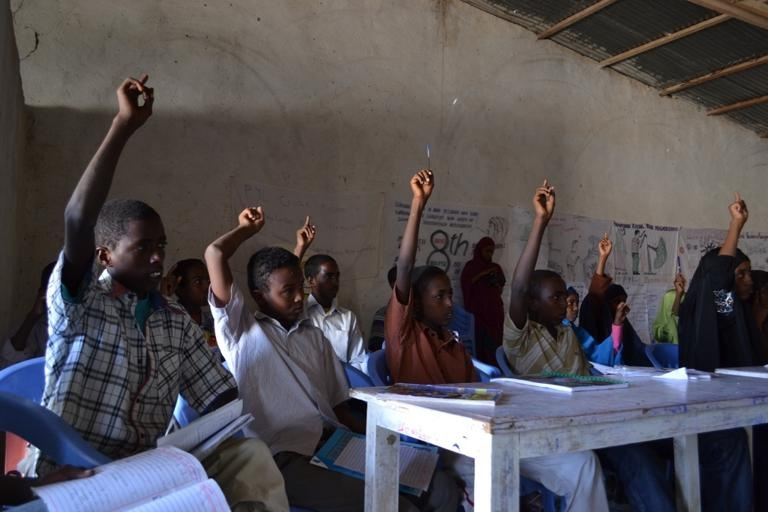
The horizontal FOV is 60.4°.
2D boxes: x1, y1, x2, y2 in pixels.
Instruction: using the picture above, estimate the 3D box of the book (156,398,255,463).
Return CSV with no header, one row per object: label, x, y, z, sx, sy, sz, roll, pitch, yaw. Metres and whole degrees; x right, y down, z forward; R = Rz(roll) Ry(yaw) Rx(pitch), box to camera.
book,-0.660,0.614,2.401,0.231,0.092,0.229,-36,-14,-8
